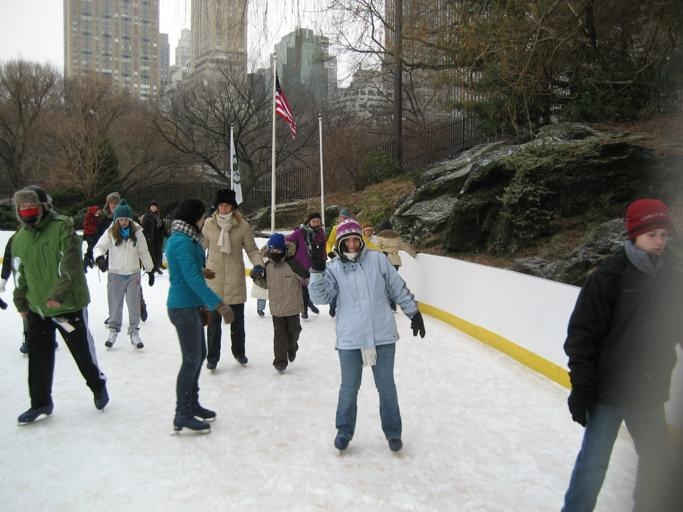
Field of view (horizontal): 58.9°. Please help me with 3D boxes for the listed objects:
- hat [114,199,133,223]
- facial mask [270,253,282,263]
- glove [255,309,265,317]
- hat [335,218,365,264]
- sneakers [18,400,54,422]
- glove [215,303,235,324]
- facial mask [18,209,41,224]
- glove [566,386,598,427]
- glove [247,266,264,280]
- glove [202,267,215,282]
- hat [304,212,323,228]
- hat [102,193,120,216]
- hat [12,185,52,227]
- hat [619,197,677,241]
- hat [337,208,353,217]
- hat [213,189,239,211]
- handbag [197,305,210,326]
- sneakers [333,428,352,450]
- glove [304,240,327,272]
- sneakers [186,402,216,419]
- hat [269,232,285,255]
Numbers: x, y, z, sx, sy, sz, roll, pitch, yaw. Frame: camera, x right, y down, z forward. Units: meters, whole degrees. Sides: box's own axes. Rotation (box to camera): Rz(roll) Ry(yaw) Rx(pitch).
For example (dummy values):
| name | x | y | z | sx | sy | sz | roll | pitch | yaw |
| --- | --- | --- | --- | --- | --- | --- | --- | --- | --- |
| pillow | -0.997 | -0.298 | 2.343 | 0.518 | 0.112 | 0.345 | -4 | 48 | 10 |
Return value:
| name | x | y | z | sx | sy | sz | roll | pitch | yaw |
| --- | --- | --- | --- | --- | --- | --- | --- | --- | --- |
| hat | -3.228 | -0.664 | 8.961 | 0.292 | 0.342 | 0.267 | 6 | 5 | 24 |
| facial mask | -0.893 | 0.025 | 8.103 | 0.101 | 0.129 | 0.127 | 1 | -6 | -7 |
| glove | -1.563 | 1.083 | 11.522 | 0.095 | 0.135 | 0.111 | -32 | 11 | -26 |
| hat | 0.071 | -0.151 | 5.873 | 0.242 | 0.398 | 0.369 | 0 | 35 | 0 |
| sneakers | -3.201 | 1.635 | 6.355 | 0.390 | 0.195 | 0.146 | -15 | -2 | -36 |
| glove | -1.169 | 0.572 | 6.098 | 0.157 | 0.229 | 0.284 | 0 | 8 | -4 |
| facial mask | -3.201 | -0.404 | 6.158 | 0.142 | 0.149 | 0.156 | 0 | 3 | -16 |
| glove | 1.835 | 1.182 | 4.615 | 0.194 | 0.319 | 0.101 | -14 | 9 | -14 |
| glove | -1.125 | 0.191 | 7.899 | 0.162 | 0.173 | 0.144 | -21 | -1 | -17 |
| glove | -1.534 | 0.210 | 6.920 | 0.172 | 0.102 | 0.124 | -3 | 45 | 27 |
| hat | -0.455 | -0.579 | 9.852 | 0.199 | 0.242 | 0.235 | 15 | 1 | -25 |
| hat | -3.733 | -0.844 | 9.910 | 0.259 | 0.390 | 0.360 | 17 | 3 | -23 |
| hat | -3.236 | -0.527 | 6.305 | 0.286 | 0.398 | 0.411 | -8 | -1 | -10 |
| hat | 2.403 | -0.252 | 4.759 | 0.276 | 0.326 | 0.318 | -13 | 4 | -8 |
| hat | 0.068 | -0.717 | 9.840 | 0.181 | 0.198 | 0.137 | 24 | -12 | -38 |
| hat | -1.527 | -0.740 | 7.866 | 0.229 | 0.227 | 0.260 | 3 | 0 | -2 |
| handbag | -1.476 | 0.633 | 6.473 | 0.162 | 0.291 | 0.140 | -1 | -11 | -6 |
| sneakers | -0.015 | 1.769 | 5.813 | 0.114 | 0.217 | 0.208 | 18 | -26 | 0 |
| glove | -0.248 | 0.038 | 6.046 | 0.201 | 0.432 | 0.389 | -2 | -18 | 0 |
| sneakers | -1.465 | 1.625 | 6.304 | 0.311 | 0.202 | 0.118 | 9 | 1 | -4 |
| hat | -0.869 | -0.167 | 8.123 | 0.169 | 0.246 | 0.257 | 7 | 1 | -2 |
